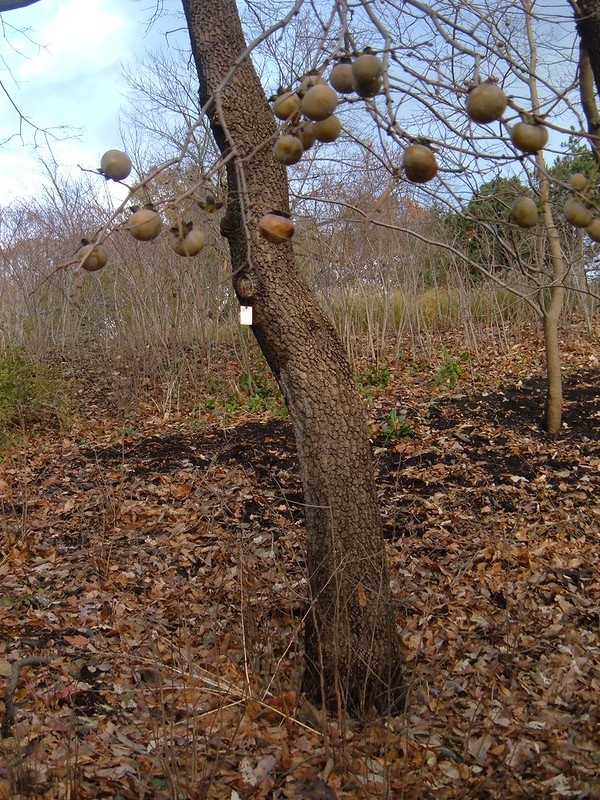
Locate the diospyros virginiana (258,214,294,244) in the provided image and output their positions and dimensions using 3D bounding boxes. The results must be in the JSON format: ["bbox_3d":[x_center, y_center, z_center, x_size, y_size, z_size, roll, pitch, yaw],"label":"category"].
[{"bbox_3d":[-0.045,-0.359,1.330,0.063,0.074,0.140,2,3,1],"label":"diospyros virginiana"}]

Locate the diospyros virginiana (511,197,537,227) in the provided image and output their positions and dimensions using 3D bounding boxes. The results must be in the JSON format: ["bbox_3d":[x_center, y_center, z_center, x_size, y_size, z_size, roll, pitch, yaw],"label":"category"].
[{"bbox_3d":[0.417,-0.353,1.194,0.050,0.049,0.066,6,15,5],"label":"diospyros virginiana"}]
